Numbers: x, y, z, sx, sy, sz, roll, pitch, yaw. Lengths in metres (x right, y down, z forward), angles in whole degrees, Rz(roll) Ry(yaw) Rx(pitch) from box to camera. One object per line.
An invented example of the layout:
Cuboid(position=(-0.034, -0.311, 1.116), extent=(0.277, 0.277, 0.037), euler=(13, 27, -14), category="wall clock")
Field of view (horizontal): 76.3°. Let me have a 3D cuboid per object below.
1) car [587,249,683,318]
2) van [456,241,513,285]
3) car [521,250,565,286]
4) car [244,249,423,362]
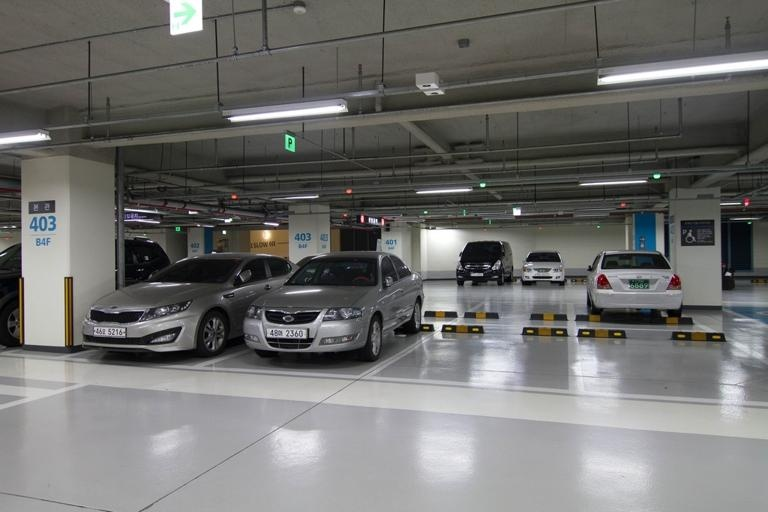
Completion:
Cuboid(position=(6.308, 0.549, 12.906), extent=(1.370, 0.931, 3.061), euler=(0, 1, 13), category="car")
Cuboid(position=(5.287, 0.329, 25.233), extent=(2.053, 2.256, 3.389), euler=(3, 7, 27), category="van")
Cuboid(position=(7.797, 0.518, 24.243), extent=(1.305, 1.126, 2.451), euler=(-2, -7, 14), category="car")
Cuboid(position=(-0.800, 0.931, 9.383), extent=(1.959, 1.935, 3.218), euler=(4, 7, 31), category="car")
